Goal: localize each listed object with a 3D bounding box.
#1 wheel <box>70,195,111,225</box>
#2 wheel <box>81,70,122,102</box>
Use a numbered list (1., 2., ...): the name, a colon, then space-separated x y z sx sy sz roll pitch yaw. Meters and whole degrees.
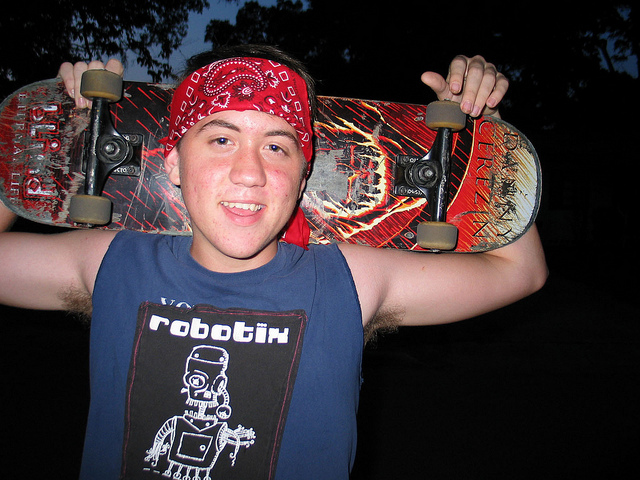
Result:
1. wheel: -1.872 -0.243 4.398 0.240 0.180 0.245 3 1 0
2. wheel: -1.857 -1.271 4.580 0.324 0.225 0.329 -2 -9 0
